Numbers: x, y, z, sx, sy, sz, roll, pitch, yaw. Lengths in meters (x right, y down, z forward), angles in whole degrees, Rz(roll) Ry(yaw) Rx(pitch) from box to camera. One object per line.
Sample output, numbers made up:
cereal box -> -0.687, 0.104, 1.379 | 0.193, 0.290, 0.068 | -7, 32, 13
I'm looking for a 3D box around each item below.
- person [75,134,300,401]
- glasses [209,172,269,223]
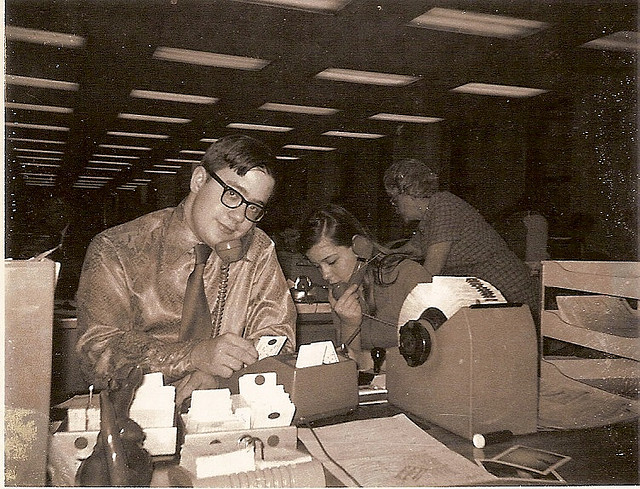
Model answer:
person -> -0.420, 0.042, 2.001 | 0.735, 0.752, 0.470 | -4, -2, -21
glasses -> -0.274, -0.146, 2.118 | 0.182, 0.055, 0.179 | 37, 4, -47
